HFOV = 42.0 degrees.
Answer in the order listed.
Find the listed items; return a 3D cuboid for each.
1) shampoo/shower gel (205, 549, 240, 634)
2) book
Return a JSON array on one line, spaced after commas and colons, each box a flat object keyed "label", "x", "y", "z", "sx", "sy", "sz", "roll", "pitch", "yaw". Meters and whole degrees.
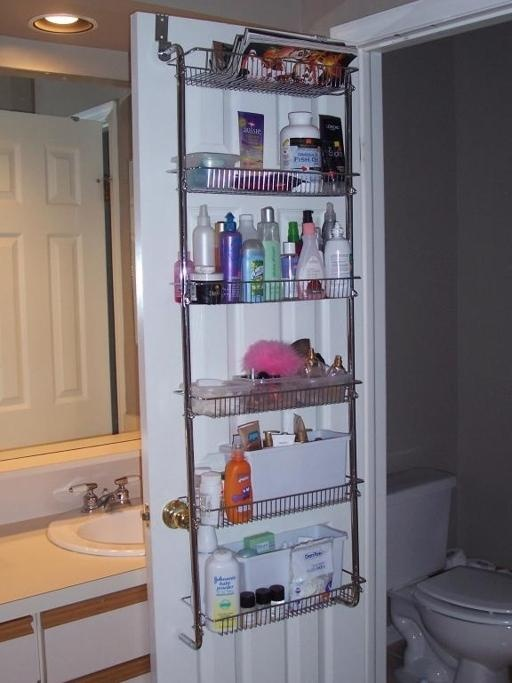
[{"label": "shampoo/shower gel", "x": -0.068, "y": 0.503, "z": 1.335, "sx": 0.074, "sy": 0.167, "sz": 0.039, "roll": -6, "pitch": 6, "yaw": -5}, {"label": "book", "x": 0.054, "y": -0.566, "z": 1.352, "sx": 0.362, "sy": 0.086, "sz": 0.104, "roll": -11, "pitch": 9, "yaw": -41}]
